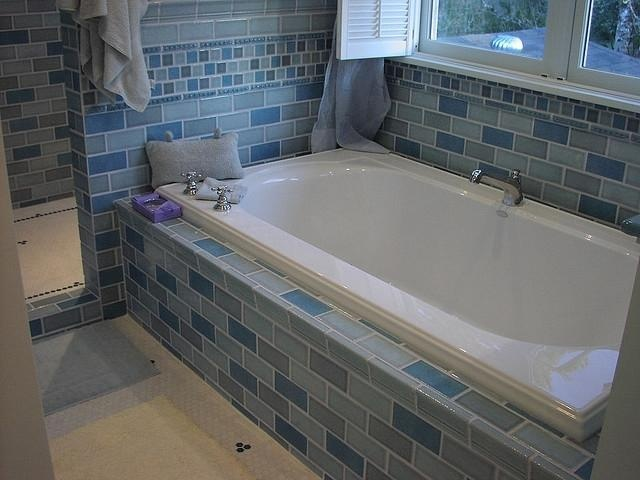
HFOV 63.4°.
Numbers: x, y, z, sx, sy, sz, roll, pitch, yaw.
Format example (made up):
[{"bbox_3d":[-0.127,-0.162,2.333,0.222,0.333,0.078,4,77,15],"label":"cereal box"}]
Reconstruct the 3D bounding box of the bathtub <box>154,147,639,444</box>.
[{"bbox_3d":[0.388,0.117,2.285,1.180,0.584,1.901,-18,30,-42],"label":"bathtub"}]

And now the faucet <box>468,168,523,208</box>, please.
[{"bbox_3d":[0.785,-0.245,2.369,0.322,0.204,0.117,-1,20,-14],"label":"faucet"}]
